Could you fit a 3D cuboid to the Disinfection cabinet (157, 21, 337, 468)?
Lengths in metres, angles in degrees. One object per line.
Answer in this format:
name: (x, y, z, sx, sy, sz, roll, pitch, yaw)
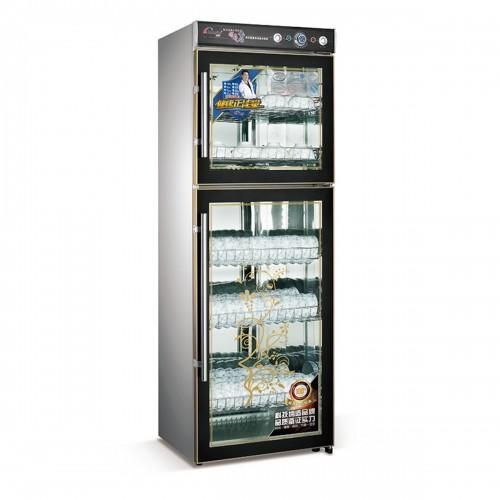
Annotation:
Disinfection cabinet: (0.004, -0.013, 3.406, 1.142, 2.593, 0.582, 1, 3, -4)
